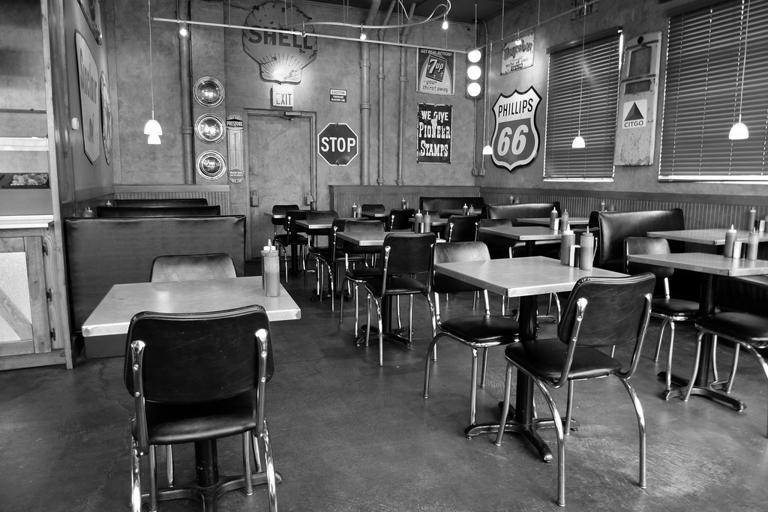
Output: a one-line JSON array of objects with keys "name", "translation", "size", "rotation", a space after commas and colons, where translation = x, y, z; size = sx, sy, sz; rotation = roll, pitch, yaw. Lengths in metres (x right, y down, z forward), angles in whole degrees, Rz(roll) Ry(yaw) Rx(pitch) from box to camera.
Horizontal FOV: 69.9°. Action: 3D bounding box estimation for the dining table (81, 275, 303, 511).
[{"name": "dining table", "translation": [-1.371, 0.813, 4.038], "size": [1.543, 1.471, 1.544], "rotation": [-1, 6, -7]}]
